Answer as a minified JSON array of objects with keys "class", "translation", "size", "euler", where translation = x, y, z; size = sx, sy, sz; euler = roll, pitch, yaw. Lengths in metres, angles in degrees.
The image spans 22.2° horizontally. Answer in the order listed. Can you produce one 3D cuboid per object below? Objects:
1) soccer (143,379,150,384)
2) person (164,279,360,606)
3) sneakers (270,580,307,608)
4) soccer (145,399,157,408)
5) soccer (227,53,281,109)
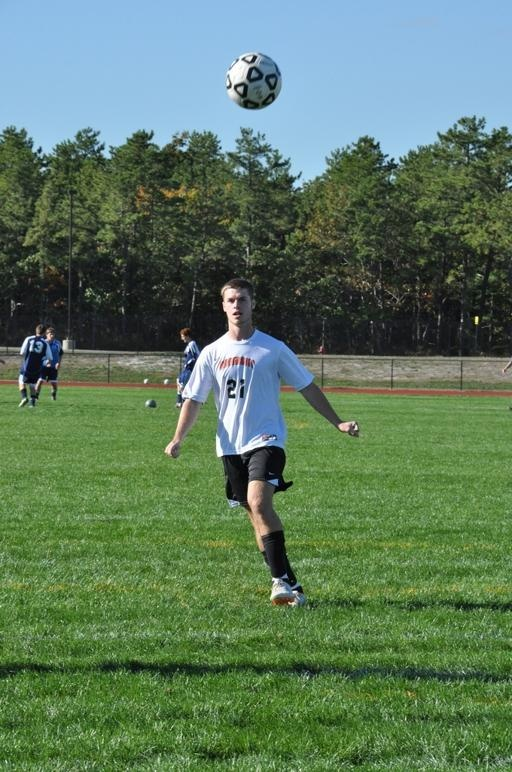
[{"class":"soccer","translation":[-3.915,-0.169,45.198],"size":[0.173,0.200,0.223],"euler":[5,-4,-6]},{"class":"person","translation":[-0.053,0.326,8.109],"size":[0.972,1.984,0.899],"euler":[3,0,-20]},{"class":"sneakers","translation":[0.159,1.251,7.867],"size":[0.096,0.132,0.301],"euler":[-13,-24,8]},{"class":"soccer","translation":[-2.219,0.339,26.601],"size":[0.158,0.170,0.208],"euler":[25,-7,11]},{"class":"soccer","translation":[-0.086,-3.104,13.245],"size":[0.508,0.573,0.506],"euler":[-13,46,-17]}]
